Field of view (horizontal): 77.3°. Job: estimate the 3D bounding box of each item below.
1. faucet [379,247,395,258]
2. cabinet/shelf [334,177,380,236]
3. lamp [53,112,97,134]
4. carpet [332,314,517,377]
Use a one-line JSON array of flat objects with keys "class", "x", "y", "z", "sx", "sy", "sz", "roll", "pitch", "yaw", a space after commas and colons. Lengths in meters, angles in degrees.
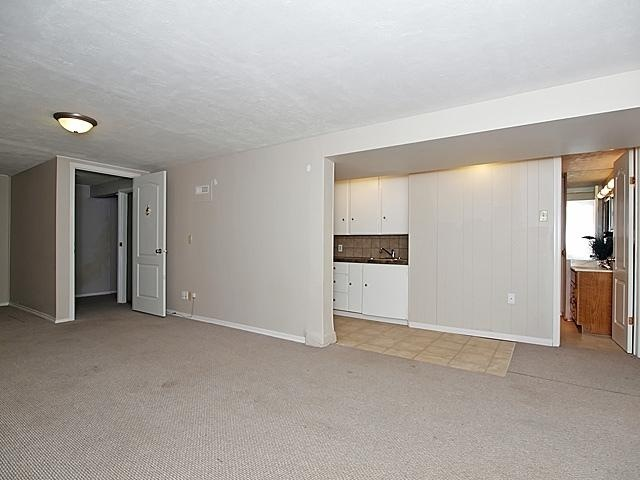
[{"class": "faucet", "x": 1.100, "y": 0.200, "z": 6.617, "sx": 0.238, "sy": 0.149, "sz": 0.109, "roll": 4, "pitch": -3, "yaw": -9}, {"class": "cabinet/shelf", "x": 0.619, "y": -0.566, "z": 6.474, "sx": 0.869, "sy": 0.867, "sz": 0.312, "roll": 0, "pitch": 2, "yaw": 37}, {"class": "lamp", "x": -2.739, "y": -1.310, "z": 4.431, "sx": 0.248, "sy": 0.097, "sz": 0.246, "roll": 0, "pitch": -5, "yaw": -26}, {"class": "carpet", "x": 1.257, "y": 1.312, "z": 5.136, "sx": 2.193, "sy": 0.132, "sz": 1.383, "roll": 4, "pitch": 8, "yaw": 31}]
